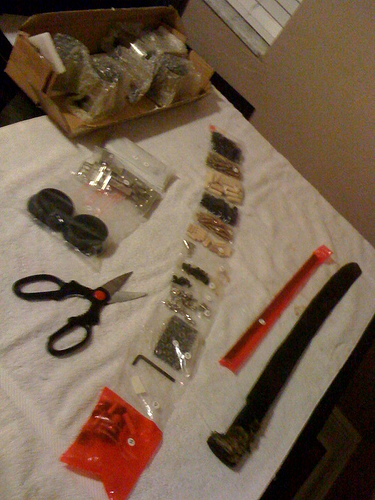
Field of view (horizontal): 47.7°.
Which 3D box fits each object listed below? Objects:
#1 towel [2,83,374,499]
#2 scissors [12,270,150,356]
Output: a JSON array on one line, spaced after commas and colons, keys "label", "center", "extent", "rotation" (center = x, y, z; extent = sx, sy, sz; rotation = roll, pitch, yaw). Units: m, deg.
[{"label": "towel", "center": [-0.007, 0.133, 1.239], "extent": [1.043, 0.630, 0.871], "rotation": [46, 57, -15]}, {"label": "scissors", "center": [-0.287, 0.116, 1.108], "extent": [0.230, 0.111, 0.280], "rotation": [43, 23, 12]}]
